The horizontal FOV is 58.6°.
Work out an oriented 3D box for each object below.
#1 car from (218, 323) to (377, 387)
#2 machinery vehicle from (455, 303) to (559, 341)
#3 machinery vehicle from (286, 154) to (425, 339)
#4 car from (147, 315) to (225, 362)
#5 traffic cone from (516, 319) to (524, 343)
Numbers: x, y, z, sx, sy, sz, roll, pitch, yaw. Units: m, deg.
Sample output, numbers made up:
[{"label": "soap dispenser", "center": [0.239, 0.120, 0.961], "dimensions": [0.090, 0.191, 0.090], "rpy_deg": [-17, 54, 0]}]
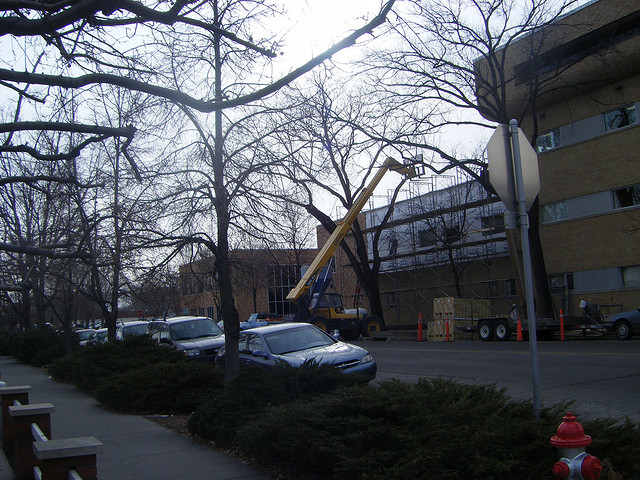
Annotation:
[{"label": "car", "center": [-0.514, 2.668, 13.805], "dimensions": [3.705, 1.351, 1.880], "rpy_deg": [-10, -11, 38]}, {"label": "machinery vehicle", "center": [8.953, 4.041, 27.664], "dimensions": [2.289, 1.722, 5.459], "rpy_deg": [1, -10, -27]}, {"label": "machinery vehicle", "center": [0.660, 0.866, 33.411], "dimensions": [7.061, 9.932, 1.717], "rpy_deg": [4, -10, -44]}, {"label": "car", "center": [-4.068, 3.091, 18.172], "dimensions": [1.543, 1.353, 2.525], "rpy_deg": [5, -19, -39]}, {"label": "traffic cone", "center": [9.070, 4.117, 26.028], "dimensions": [0.244, 1.010, 0.714], "rpy_deg": [-5, -8, 18]}]
